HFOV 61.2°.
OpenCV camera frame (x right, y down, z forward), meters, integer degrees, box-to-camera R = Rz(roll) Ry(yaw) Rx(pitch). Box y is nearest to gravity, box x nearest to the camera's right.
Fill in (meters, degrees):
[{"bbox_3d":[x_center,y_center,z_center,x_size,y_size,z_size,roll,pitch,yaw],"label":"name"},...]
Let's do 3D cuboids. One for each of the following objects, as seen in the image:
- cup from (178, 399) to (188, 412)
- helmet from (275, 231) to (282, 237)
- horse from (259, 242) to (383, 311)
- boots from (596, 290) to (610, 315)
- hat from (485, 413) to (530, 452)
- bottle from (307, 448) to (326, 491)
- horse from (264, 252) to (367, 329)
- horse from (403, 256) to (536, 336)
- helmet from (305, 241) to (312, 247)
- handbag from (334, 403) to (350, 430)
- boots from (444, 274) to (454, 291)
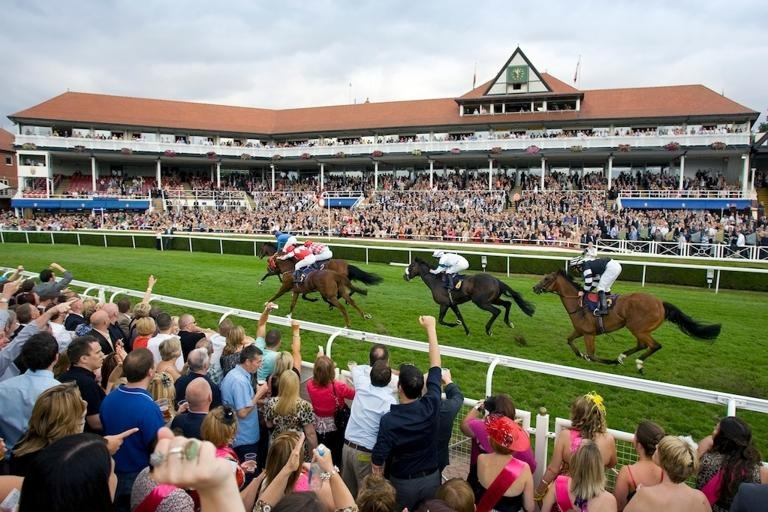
[{"bbox_3d":[-2.457,1.853,7.952,0.099,0.129,0.325,1,2,-19],"label":"cup"},{"bbox_3d":[-2.384,-0.490,14.562,0.147,0.131,0.115,-15,-2,29],"label":"helmet"},{"bbox_3d":[-1.456,0.508,14.568,2.805,0.520,1.257,9,42,16],"label":"horse"},{"bbox_3d":[3.738,0.807,11.121,0.228,0.426,0.157,2,3,-7],"label":"boots"},{"bbox_3d":[1.405,2.012,7.463,0.614,0.213,0.429,17,24,-3],"label":"hat"},{"bbox_3d":[-0.716,2.287,7.044,0.267,0.435,0.107,3,4,41],"label":"bottle"},{"bbox_3d":[-1.394,0.682,13.595,1.520,1.257,2.508,1,3,-27],"label":"horse"},{"bbox_3d":[1.603,0.828,12.733,2.591,1.525,0.598,-1,1,21],"label":"horse"},{"bbox_3d":[-1.581,-0.243,13.657,0.176,0.108,0.229,2,2,-12],"label":"helmet"},{"bbox_3d":[-0.533,2.048,8.207,0.219,0.279,0.301,2,-11,-8],"label":"handbag"},{"bbox_3d":[1.276,0.498,12.587,0.182,0.318,0.100,2,3,5],"label":"boots"}]
